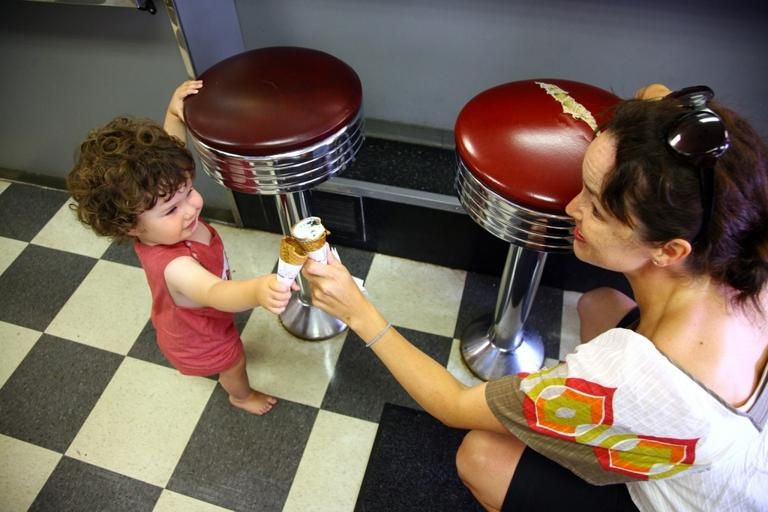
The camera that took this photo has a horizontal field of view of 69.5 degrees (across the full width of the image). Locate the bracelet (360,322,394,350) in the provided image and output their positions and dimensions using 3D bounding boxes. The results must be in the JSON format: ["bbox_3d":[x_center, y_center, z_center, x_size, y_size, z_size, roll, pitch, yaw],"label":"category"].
[{"bbox_3d":[-0.010,0.247,1.626,0.019,0.085,0.084,51,18,-12],"label":"bracelet"}]

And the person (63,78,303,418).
[{"bbox_3d":[-0.693,0.005,1.908,0.489,1.098,0.811,-31,76,-19],"label":"person"}]
